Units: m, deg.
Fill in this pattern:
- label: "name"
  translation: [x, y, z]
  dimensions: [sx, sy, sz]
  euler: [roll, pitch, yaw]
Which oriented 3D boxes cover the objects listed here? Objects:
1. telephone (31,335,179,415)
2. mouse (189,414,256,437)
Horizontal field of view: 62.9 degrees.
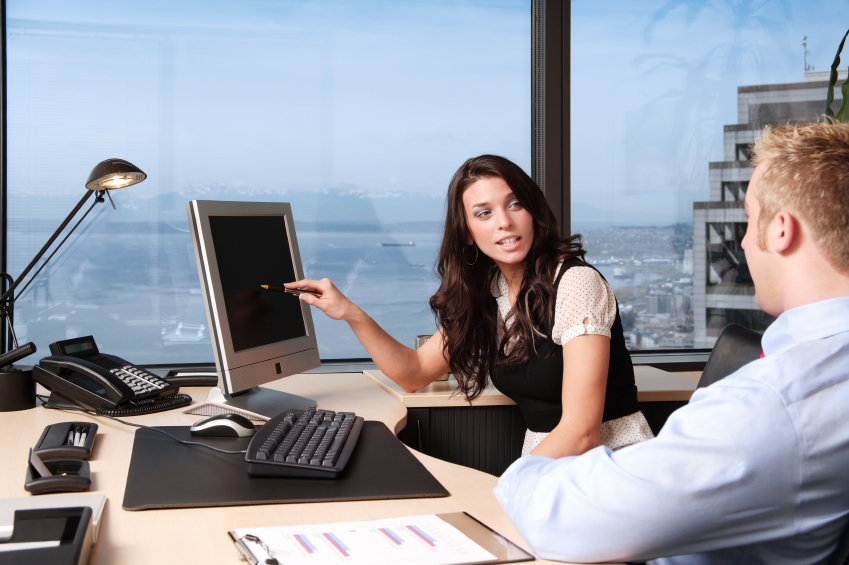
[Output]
- label: "telephone"
  translation: [-1.058, 0.317, 2.366]
  dimensions: [0.484, 0.155, 0.373]
  euler: [10, 7, 31]
- label: "mouse"
  translation: [-0.595, 0.415, 2.019]
  dimensions: [0.142, 0.040, 0.078]
  euler: [3, -2, 2]
